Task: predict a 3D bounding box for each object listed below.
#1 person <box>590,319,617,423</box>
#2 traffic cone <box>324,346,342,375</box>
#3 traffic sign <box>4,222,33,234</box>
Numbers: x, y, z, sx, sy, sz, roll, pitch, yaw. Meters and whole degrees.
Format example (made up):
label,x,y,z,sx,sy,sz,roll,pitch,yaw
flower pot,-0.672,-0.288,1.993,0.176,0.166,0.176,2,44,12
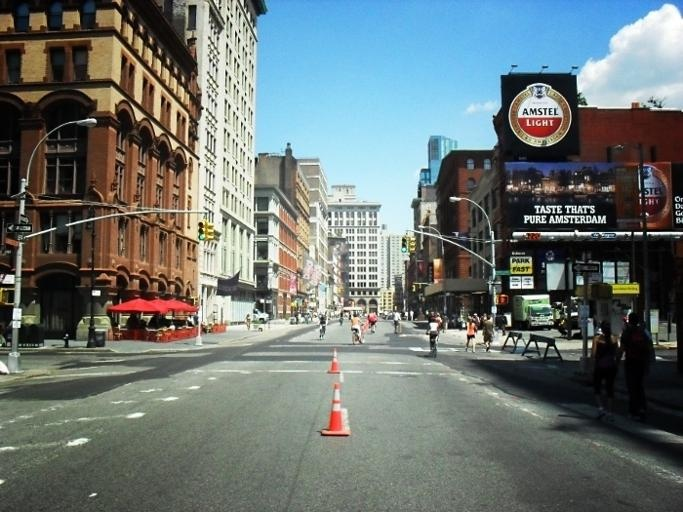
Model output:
label,x,y,z,sx,sy,sz,roll,pitch,yaw
person,8.069,3.326,24.000,0.859,3.637,0.716,-1,-3,15
traffic cone,-0.307,4.227,31.107,0.766,1.155,0.793,2,-4,-4
traffic sign,-15.487,-1.394,37.386,1.365,0.701,0.238,-5,-17,22
